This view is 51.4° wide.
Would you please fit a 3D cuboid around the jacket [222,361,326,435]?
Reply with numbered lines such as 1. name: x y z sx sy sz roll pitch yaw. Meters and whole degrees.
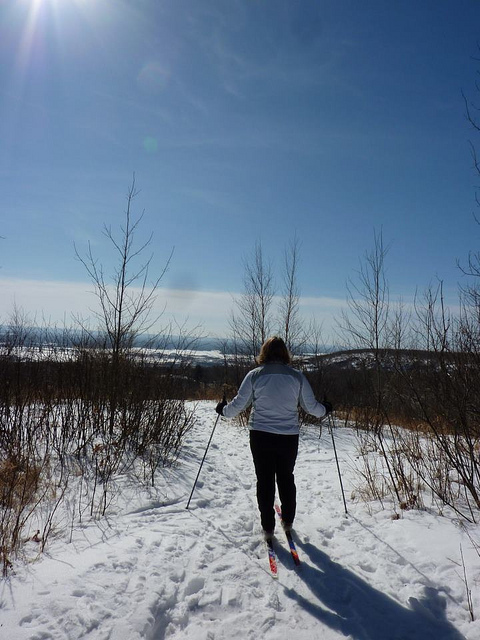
1. jacket: 0.514 1.115 6.893 1.246 1.200 0.506 -1 -8 15

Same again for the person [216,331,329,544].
1. person: 0.308 1.100 5.066 0.910 2.391 0.621 0 23 5

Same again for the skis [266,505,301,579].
1. skis: 0.396 2.084 4.643 0.219 0.141 1.030 -11 -7 -3
